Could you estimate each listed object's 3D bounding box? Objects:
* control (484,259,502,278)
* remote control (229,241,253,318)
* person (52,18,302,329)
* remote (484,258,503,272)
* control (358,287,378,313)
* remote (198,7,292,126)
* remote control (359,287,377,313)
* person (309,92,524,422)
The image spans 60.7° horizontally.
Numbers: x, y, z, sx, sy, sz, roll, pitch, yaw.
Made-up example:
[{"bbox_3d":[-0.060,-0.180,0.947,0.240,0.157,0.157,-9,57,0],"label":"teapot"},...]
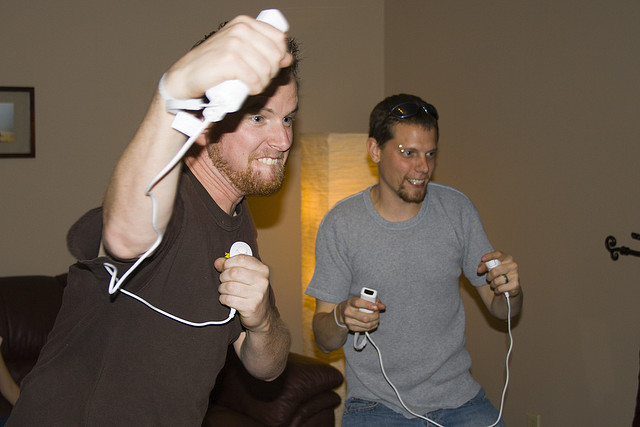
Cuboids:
[{"bbox_3d":[0.825,0.255,2.640,0.074,0.058,0.051,9,9,17],"label":"control"},{"bbox_3d":[-0.306,0.253,2.057,0.085,0.249,0.232,5,8,-8],"label":"remote control"},{"bbox_3d":[-0.431,-0.083,1.899,0.838,1.105,0.505,2,9,-26],"label":"person"},{"bbox_3d":[0.827,0.256,2.638,0.080,0.061,0.054,9,9,17],"label":"remote"},{"bbox_3d":[0.220,0.409,2.543,0.060,0.062,0.110,9,-36,7],"label":"control"},{"bbox_3d":[-0.291,-0.466,1.807,0.242,0.374,0.343,1,9,-30],"label":"remote"},{"bbox_3d":[0.219,0.409,2.538,0.063,0.117,0.063,7,37,9],"label":"remote control"},{"bbox_3d":[0.478,0.238,2.714,0.995,1.617,0.671,9,9,21],"label":"person"}]
